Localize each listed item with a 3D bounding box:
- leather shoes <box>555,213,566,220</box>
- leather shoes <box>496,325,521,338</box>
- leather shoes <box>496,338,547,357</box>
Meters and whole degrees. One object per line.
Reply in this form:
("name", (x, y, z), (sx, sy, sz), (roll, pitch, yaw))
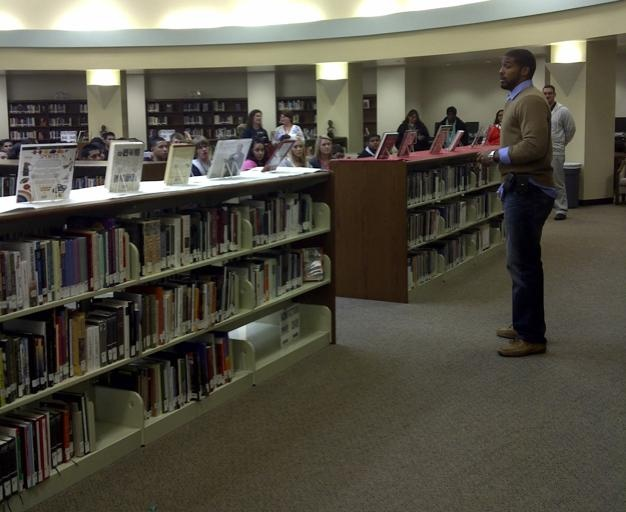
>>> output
("leather shoes", (4.441, -0.714, 9.555), (0.181, 0.122, 0.331), (6, 15, 24))
("leather shoes", (1.636, 0.639, 4.451), (0.186, 0.082, 0.074), (8, 8, 23))
("leather shoes", (1.569, 0.683, 4.073), (0.373, 0.151, 0.139), (1, 2, -1))
